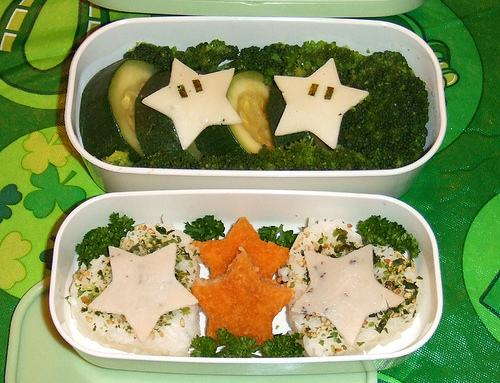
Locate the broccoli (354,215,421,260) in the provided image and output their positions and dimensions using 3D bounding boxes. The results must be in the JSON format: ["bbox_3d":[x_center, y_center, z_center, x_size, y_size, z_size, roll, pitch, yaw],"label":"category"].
[{"bbox_3d":[0.818,0.262,2.898,0.274,0.427,0.141,-20,103,-15],"label":"broccoli"}]

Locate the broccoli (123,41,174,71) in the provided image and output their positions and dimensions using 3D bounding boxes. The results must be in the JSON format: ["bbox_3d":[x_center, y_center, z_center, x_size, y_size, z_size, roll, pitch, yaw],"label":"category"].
[{"bbox_3d":[-0.647,-0.889,3.148,0.242,0.178,0.094,12,67,16],"label":"broccoli"}]

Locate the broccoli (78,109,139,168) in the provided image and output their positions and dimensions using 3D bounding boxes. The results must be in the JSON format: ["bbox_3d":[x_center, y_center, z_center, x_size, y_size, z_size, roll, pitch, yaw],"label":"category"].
[{"bbox_3d":[-0.872,-0.339,2.981,0.415,0.128,0.272,27,81,8],"label":"broccoli"}]

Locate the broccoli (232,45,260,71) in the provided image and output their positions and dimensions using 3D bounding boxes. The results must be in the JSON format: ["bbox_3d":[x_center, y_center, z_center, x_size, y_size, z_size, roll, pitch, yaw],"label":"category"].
[{"bbox_3d":[-0.032,-0.853,3.144,0.138,0.061,0.155,16,69,35],"label":"broccoli"}]

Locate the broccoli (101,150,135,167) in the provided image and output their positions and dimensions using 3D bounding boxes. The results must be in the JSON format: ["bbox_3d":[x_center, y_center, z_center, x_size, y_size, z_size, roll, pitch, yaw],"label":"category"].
[{"bbox_3d":[-0.813,-0.200,2.955,0.121,0.041,0.104,-10,50,-23],"label":"broccoli"}]

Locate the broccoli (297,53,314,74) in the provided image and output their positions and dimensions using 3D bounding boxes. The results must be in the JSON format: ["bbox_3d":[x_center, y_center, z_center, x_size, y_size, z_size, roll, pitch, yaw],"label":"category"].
[{"bbox_3d":[0.359,-0.821,3.107,0.087,0.033,0.123,-45,80,-5],"label":"broccoli"}]

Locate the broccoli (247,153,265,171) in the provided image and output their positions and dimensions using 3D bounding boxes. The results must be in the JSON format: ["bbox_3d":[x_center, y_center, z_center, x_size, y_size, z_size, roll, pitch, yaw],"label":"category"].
[{"bbox_3d":[0.032,-0.184,2.975,0.092,0.046,0.109,1,74,-2],"label":"broccoli"}]

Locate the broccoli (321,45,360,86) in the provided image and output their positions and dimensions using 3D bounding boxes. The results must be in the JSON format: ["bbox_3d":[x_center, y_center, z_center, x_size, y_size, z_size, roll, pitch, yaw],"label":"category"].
[{"bbox_3d":[0.590,-0.841,3.091,0.215,0.082,0.253,-9,81,-16],"label":"broccoli"}]

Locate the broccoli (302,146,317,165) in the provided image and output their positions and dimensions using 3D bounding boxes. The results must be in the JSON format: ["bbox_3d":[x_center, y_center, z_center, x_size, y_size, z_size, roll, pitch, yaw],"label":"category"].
[{"bbox_3d":[0.361,-0.214,2.974,0.082,0.025,0.098,-14,78,1],"label":"broccoli"}]

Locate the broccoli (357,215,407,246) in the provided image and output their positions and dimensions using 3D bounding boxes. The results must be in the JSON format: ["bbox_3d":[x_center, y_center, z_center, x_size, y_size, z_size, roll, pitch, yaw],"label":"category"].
[{"bbox_3d":[0.767,0.216,2.921,0.243,0.325,0.109,-15,107,-6],"label":"broccoli"}]

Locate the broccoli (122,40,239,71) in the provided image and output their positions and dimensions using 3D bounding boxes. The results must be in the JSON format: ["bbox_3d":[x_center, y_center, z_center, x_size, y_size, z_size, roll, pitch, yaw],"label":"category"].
[{"bbox_3d":[-0.438,-0.877,3.150,0.544,0.144,0.259,0,90,0],"label":"broccoli"}]

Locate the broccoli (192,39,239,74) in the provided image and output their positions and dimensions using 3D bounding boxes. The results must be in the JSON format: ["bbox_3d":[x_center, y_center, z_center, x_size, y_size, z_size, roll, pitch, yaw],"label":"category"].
[{"bbox_3d":[-0.222,-0.883,3.174,0.301,0.088,0.189,-9,78,2],"label":"broccoli"}]

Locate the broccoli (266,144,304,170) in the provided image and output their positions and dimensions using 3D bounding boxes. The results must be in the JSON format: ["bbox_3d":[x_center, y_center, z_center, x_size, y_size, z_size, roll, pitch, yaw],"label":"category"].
[{"bbox_3d":[0.210,-0.201,2.973,0.141,0.080,0.150,11,30,-2],"label":"broccoli"}]

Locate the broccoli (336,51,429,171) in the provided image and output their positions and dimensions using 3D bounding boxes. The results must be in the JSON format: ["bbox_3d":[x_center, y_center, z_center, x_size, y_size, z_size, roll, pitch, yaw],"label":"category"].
[{"bbox_3d":[0.845,-0.458,3.002,0.513,0.175,0.717,4,83,8],"label":"broccoli"}]

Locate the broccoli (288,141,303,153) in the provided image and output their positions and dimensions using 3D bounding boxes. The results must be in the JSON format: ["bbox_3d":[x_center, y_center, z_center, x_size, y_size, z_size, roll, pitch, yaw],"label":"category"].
[{"bbox_3d":[0.280,-0.271,2.978,0.059,0.018,0.071,9,85,17],"label":"broccoli"}]

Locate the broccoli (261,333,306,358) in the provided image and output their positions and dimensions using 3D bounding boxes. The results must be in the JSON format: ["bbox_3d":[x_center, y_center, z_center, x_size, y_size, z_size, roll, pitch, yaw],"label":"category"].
[{"bbox_3d":[0.177,0.839,2.634,0.131,0.056,0.148,1,37,-9],"label":"broccoli"}]

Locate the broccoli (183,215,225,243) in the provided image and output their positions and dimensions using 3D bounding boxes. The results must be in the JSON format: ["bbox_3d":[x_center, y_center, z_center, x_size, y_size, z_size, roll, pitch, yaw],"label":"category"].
[{"bbox_3d":[-0.269,0.213,2.971,0.267,0.319,0.080,-6,102,-20],"label":"broccoli"}]
